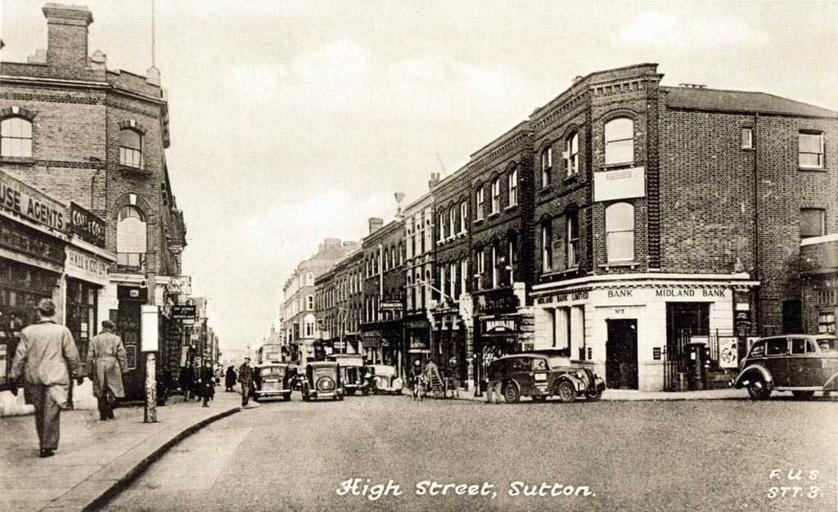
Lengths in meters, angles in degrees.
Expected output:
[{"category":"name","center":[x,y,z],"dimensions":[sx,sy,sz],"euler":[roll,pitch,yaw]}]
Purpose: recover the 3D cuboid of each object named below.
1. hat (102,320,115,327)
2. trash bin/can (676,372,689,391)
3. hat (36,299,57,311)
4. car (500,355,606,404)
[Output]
[{"category":"hat","center":[-10.160,2.232,34.538],"dimensions":[0.386,0.274,0.408],"euler":[-2,5,-14]},{"category":"trash bin/can","center":[11.202,5.337,44.876],"dimensions":[0.411,0.682,0.517],"euler":[1,6,12]},{"category":"hat","center":[-10.297,1.370,29.253],"dimensions":[0.454,0.500,0.550],"euler":[-2,9,-16]},{"category":"car","center":[5.184,4.857,42.285],"dimensions":[3.555,1.426,2.003],"euler":[-8,-10,37]}]
